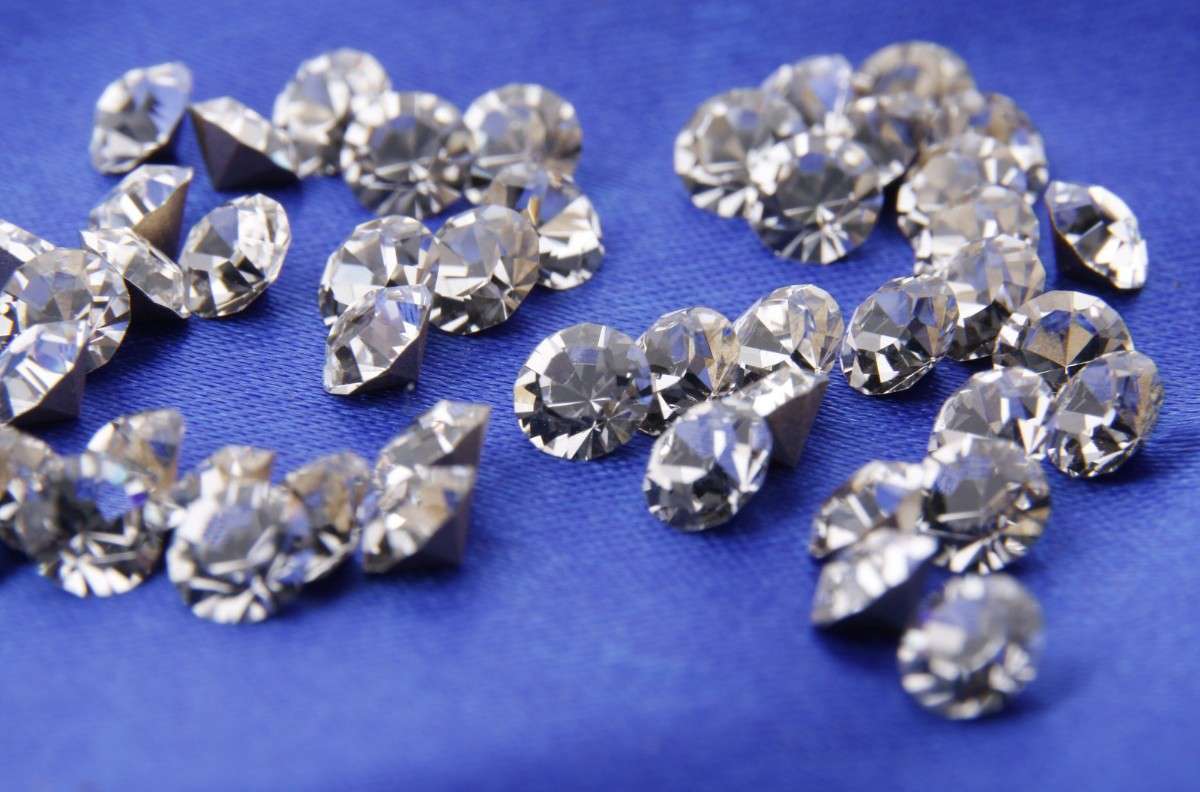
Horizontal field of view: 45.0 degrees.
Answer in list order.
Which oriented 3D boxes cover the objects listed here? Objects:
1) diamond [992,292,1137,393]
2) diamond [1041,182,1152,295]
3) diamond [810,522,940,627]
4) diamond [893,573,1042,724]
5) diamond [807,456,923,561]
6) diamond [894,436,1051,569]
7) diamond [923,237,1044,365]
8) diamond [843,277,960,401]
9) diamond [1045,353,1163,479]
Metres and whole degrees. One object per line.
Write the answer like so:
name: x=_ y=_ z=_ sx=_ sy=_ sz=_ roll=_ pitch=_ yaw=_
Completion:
diamond: x=0.332 y=-0.034 z=1.018 sx=0.090 sy=0.096 sz=0.035 roll=17 pitch=77 yaw=0
diamond: x=0.362 y=-0.121 z=1.078 sx=0.085 sy=0.048 sz=0.084 roll=33 pitch=46 yaw=-10
diamond: x=0.170 y=0.117 z=0.923 sx=0.033 sy=0.066 sz=0.062 roll=46 pitch=28 yaw=22
diamond: x=0.233 y=0.160 z=0.910 sx=0.084 sy=0.073 sz=0.058 roll=2 pitch=47 yaw=-4
diamond: x=0.171 y=0.073 z=0.935 sx=0.023 sy=0.062 sz=0.059 roll=45 pitch=20 yaw=29
diamond: x=0.252 y=0.062 z=0.980 sx=0.083 sy=0.090 sz=0.041 roll=-5 pitch=7 yaw=-4
diamond: x=0.268 y=-0.070 z=1.031 sx=0.072 sy=0.082 sz=0.029 roll=12 pitch=5 yaw=-11
diamond: x=0.205 y=-0.041 z=0.995 sx=0.066 sy=0.083 sz=0.029 roll=45 pitch=13 yaw=33
diamond: x=0.355 y=0.010 z=0.980 sx=0.064 sy=0.067 sz=0.032 roll=-39 pitch=39 yaw=-12
